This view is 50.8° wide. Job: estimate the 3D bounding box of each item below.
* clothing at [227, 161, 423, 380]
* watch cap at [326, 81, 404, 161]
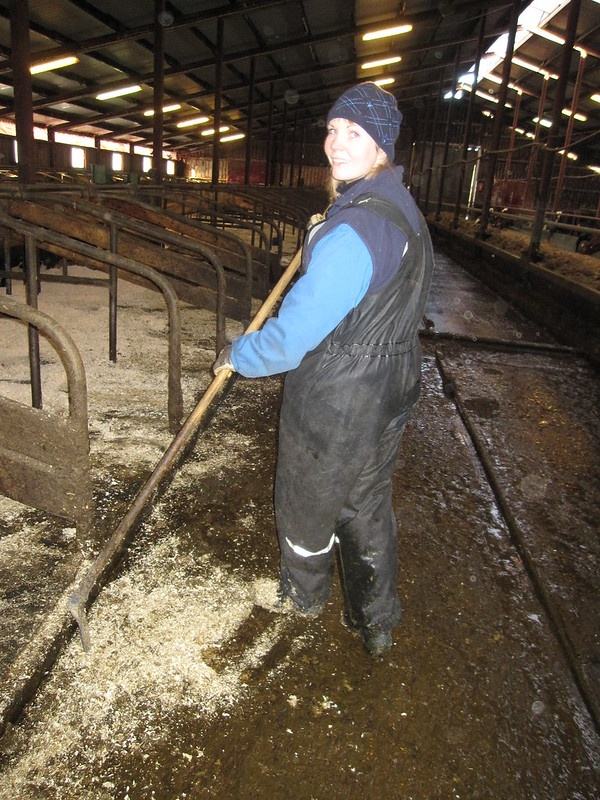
[{"bbox_3d":[0.002,-0.250,1.575,0.406,0.454,0.219,16,20,29],"label":"clothing"},{"bbox_3d":[0.177,-0.709,1.607,0.154,0.189,0.212,21,23,39],"label":"watch cap"}]
